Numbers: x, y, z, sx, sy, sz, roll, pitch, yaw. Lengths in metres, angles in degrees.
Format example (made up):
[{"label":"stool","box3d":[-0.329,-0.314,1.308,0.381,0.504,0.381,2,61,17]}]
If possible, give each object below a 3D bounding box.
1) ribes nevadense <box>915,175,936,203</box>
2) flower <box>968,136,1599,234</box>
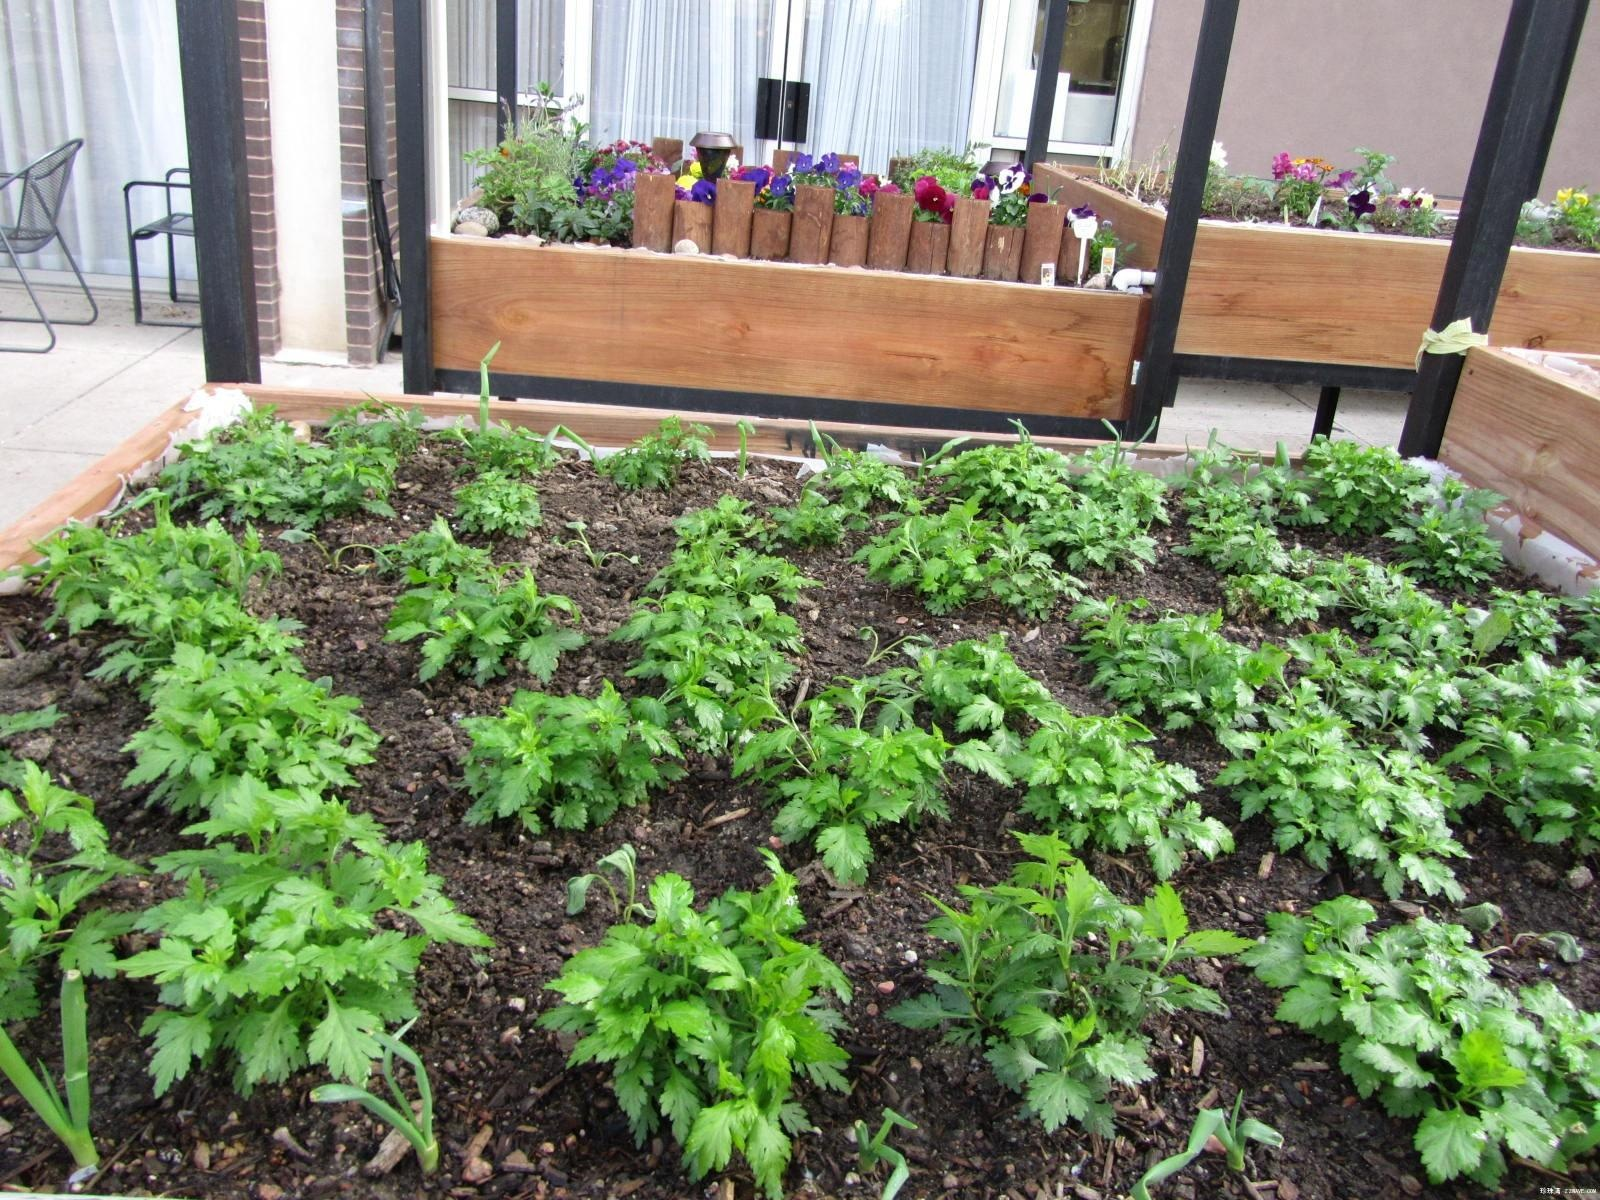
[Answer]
[{"label":"ribes nevadense","box3d":[0.518,-1.709,4.497,0.126,0.106,0.055,6,11,5]},{"label":"flower","box3d":[3.059,-2.205,5.809,2.349,0.384,1.858,1,25,-6]}]
